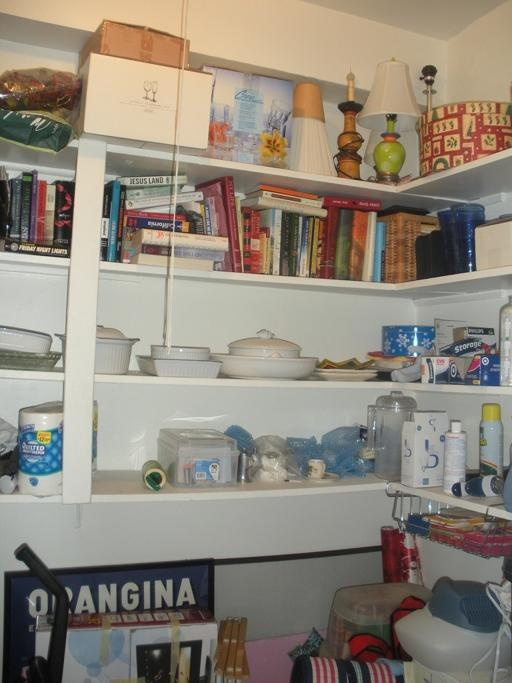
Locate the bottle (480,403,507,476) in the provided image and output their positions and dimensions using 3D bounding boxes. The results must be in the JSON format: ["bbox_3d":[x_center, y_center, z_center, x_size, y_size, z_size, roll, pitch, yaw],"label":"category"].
[{"bbox_3d":[0.572,0.241,1.377,0.048,0.170,0.063,-1,1,18],"label":"bottle"}]

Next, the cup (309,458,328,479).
[{"bbox_3d":[0.178,0.370,1.632,0.047,0.058,0.060,-4,-13,17],"label":"cup"}]

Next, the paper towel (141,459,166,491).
[{"bbox_3d":[-0.261,0.336,1.425,0.059,0.058,0.089,-23,15,-16],"label":"paper towel"}]

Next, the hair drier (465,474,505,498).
[{"bbox_3d":[0.540,0.339,1.339,0.071,0.035,0.054,-2,2,10],"label":"hair drier"}]

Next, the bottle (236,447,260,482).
[{"bbox_3d":[-0.030,0.347,1.585,0.082,0.083,0.076,2,0,-11],"label":"bottle"}]

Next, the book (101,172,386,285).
[{"bbox_3d":[-0.006,-0.313,1.622,0.882,0.277,0.194,-2,1,-30],"label":"book"}]

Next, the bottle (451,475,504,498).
[{"bbox_3d":[0.525,0.342,1.341,0.106,0.046,0.048,-7,-1,27],"label":"bottle"}]

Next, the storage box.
[{"bbox_3d":[-0.299,-0.562,1.412,0.326,0.272,0.297,4,10,-18],"label":"storage box"}]
